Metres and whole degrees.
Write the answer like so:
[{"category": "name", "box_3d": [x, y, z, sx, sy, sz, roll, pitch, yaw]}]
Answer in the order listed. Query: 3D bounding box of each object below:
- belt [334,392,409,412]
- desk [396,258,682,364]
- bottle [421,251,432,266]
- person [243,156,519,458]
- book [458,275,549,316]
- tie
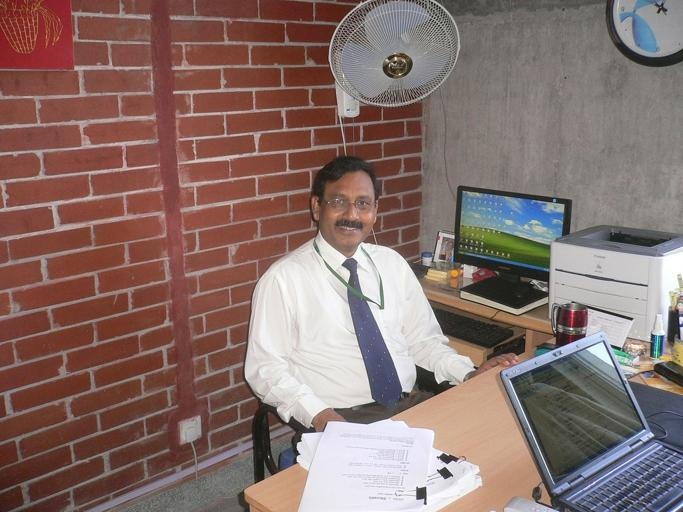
[{"category": "belt", "box_3d": [0.112, 0.577, 2.044, 0.251, 0.072, 0.036, -10, 12, 13]}, {"category": "desk", "box_3d": [0.764, 0.237, 2.696, 0.475, 0.373, 0.762, -15, 25, -33]}, {"category": "bottle", "box_3d": [0.517, 0.011, 3.155, 0.077, 0.077, 0.074, 0, 19, -8]}, {"category": "person", "box_3d": [0.161, 0.140, 2.494, 1.332, 1.367, 1.026, -11, 10, -39]}, {"category": "book", "box_3d": [0.861, 0.190, 2.655, 0.242, 0.054, 0.240, -17, 26, -35]}, {"category": "tie", "box_3d": [0.111, 0.328, 2.088, 0.154, 0.571, 0.046, -16, -12, -7]}]
